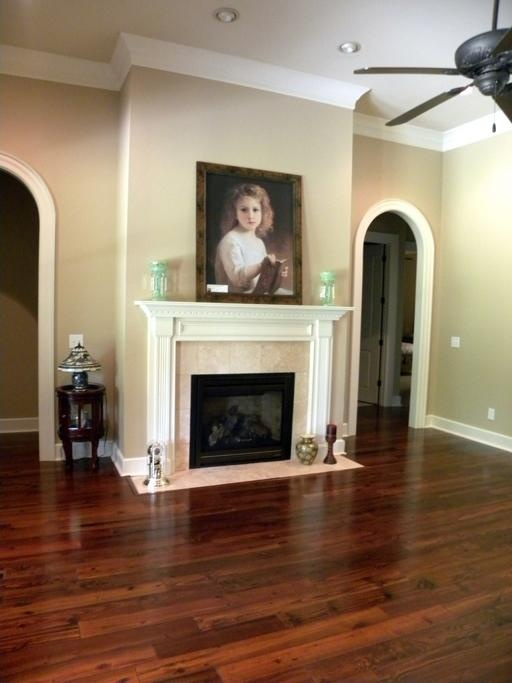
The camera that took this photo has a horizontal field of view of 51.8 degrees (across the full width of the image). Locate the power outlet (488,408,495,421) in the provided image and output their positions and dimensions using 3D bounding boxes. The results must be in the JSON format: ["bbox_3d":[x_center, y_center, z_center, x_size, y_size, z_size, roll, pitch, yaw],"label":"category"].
[{"bbox_3d":[2.309,0.716,5.177,0.004,0.128,0.099,0,3,-23],"label":"power outlet"}]

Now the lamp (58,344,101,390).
[{"bbox_3d":[-1.377,0.157,4.129,0.333,0.442,0.362,-3,4,-36],"label":"lamp"}]

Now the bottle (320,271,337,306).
[{"bbox_3d":[0.603,-0.448,4.489,0.132,0.278,0.243,2,3,8],"label":"bottle"}]

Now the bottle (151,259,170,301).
[{"bbox_3d":[-0.697,-0.440,3.832,0.127,0.276,0.163,1,3,-12],"label":"bottle"}]
